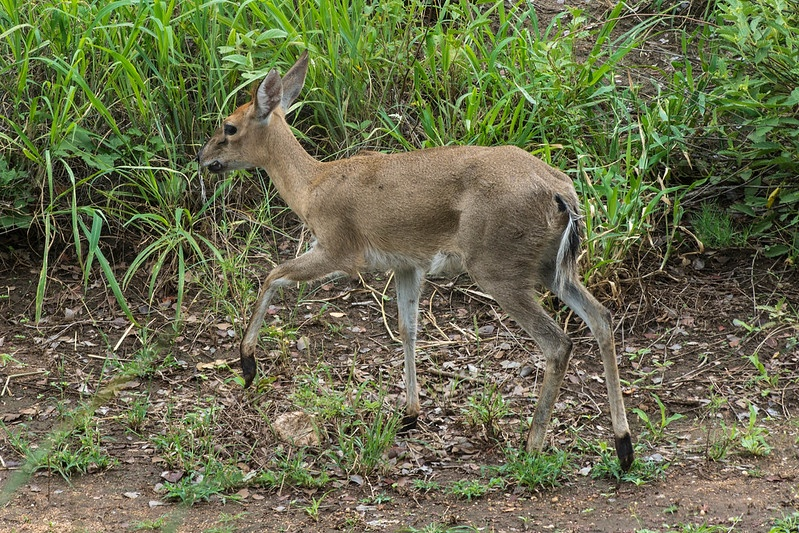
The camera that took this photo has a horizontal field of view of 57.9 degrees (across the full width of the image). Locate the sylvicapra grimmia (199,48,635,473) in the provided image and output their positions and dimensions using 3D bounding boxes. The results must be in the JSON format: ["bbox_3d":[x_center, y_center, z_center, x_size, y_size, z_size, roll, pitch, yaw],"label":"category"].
[{"bbox_3d":[-0.051,-0.100,5.945,3.840,2.718,0.916,7,7,26],"label":"sylvicapra grimmia"}]
